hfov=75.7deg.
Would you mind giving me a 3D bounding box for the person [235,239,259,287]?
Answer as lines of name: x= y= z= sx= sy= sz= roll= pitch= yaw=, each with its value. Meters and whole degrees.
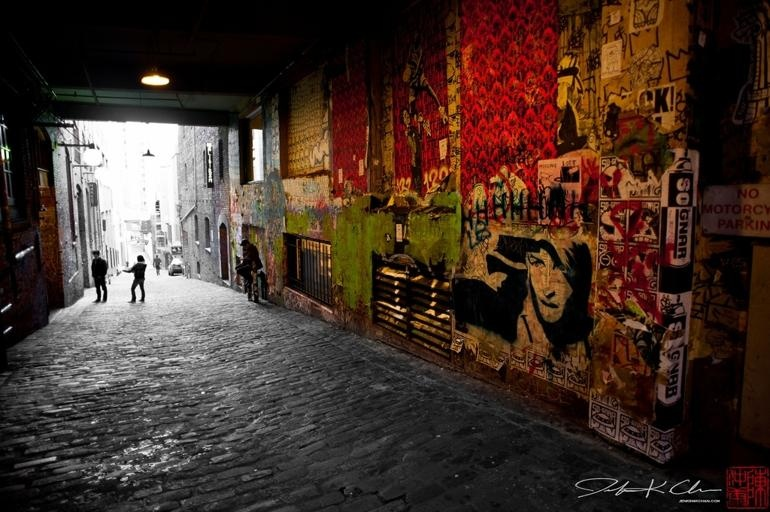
person: x=-4.488 y=0.285 z=16.278 sx=0.769 sy=1.721 sz=1.452 roll=-4 pitch=5 yaw=-17
